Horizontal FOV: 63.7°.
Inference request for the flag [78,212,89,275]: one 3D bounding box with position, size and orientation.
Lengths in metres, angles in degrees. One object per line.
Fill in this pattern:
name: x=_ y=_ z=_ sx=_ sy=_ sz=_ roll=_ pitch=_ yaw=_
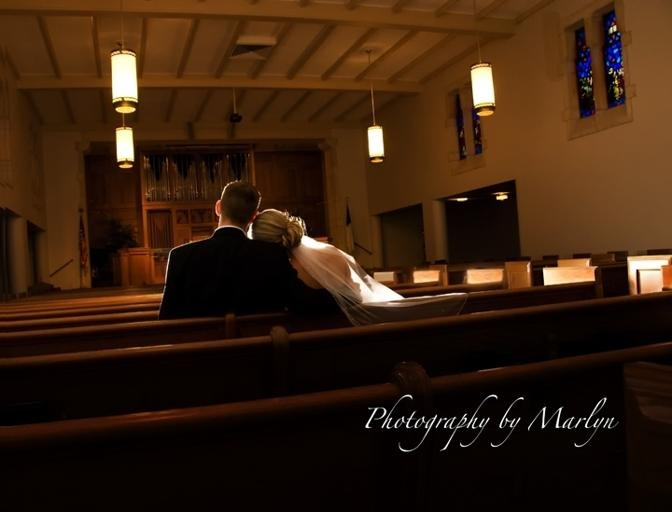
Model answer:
flag: x=-6.385 y=-0.236 z=13.541 sx=0.207 sy=1.855 sz=0.396 roll=7 pitch=24 yaw=-8
